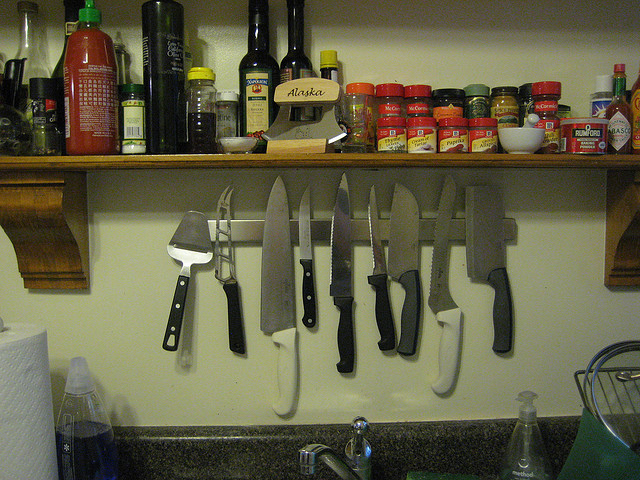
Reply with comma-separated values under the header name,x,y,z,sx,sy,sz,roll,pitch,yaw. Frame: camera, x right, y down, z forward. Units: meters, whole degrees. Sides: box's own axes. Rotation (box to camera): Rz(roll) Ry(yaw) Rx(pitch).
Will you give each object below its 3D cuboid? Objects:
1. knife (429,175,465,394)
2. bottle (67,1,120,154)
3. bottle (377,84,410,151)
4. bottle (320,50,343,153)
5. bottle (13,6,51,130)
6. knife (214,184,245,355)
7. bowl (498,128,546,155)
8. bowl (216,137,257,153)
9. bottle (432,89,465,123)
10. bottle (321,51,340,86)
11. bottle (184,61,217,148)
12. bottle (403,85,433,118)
name,x,y,z,sx,sy,sz,roll,pitch,yaw
knife,0.336,0.118,1.590,0.084,0.581,0.034,3,5,8
bottle,-0.535,-0.381,1.409,0.116,0.354,0.045,-4,6,-22
bottle,0.182,-0.309,1.518,0.075,0.166,0.114,-1,6,5
bottle,0.025,-0.359,1.508,0.075,0.218,0.096,3,13,6
bottle,-0.692,-0.440,1.539,0.087,0.308,0.124,1,12,-4
knife,-0.243,0.066,1.609,0.073,0.465,0.022,1,-1,9
bowl,0.484,-0.240,1.452,0.078,0.044,0.077,0,2,0
bowl,-0.196,-0.228,1.445,0.086,0.036,0.023,-2,6,-7
bottle,0.321,-0.338,1.562,0.092,0.099,0.091,-1,4,-10
bottle,0.027,-0.432,1.550,0.055,0.092,0.054,-13,10,2
bottle,-0.307,-0.326,1.503,0.114,0.191,0.059,4,8,41
bottle,0.242,-0.351,1.508,0.087,0.092,0.086,-1,1,-8
